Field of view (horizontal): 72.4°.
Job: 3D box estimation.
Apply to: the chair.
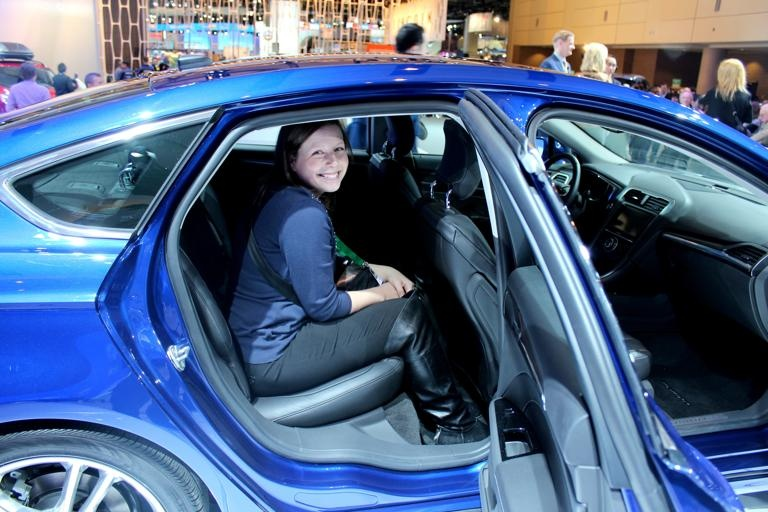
[{"bbox_3d":[-0.272,-0.184,2.564,1.379,1.643,0.849,-5,24,-14],"label":"chair"}]
